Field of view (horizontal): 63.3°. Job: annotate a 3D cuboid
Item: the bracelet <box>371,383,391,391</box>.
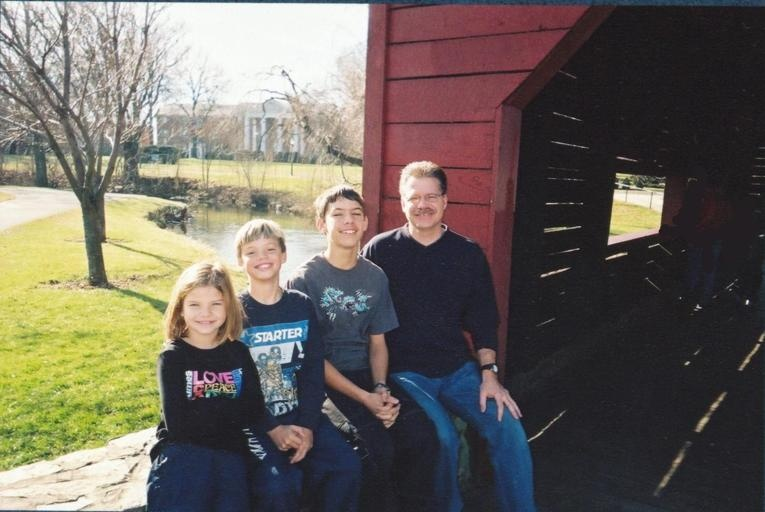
[{"bbox_3d":[0.005,0.953,4.512,0.073,0.022,0.074,11,11,-40],"label":"bracelet"}]
